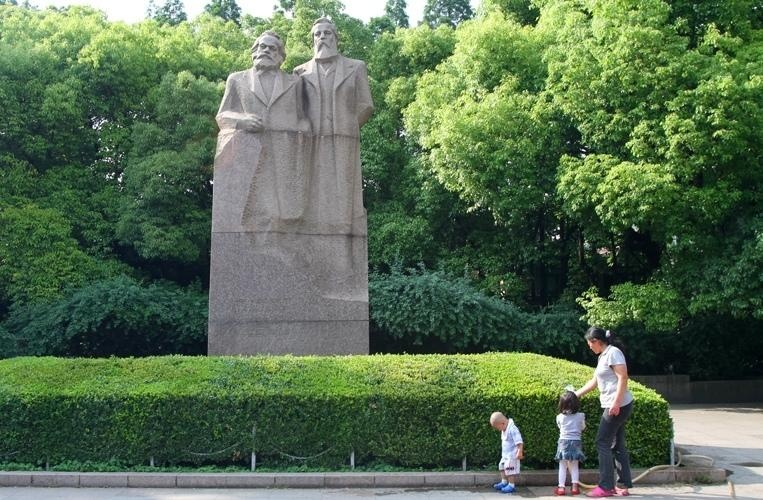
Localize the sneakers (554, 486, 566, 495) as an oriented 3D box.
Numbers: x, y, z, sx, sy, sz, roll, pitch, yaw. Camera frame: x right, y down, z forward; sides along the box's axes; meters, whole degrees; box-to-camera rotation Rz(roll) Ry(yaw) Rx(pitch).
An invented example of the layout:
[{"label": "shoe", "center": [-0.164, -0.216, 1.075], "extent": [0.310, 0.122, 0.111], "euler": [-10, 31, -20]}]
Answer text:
[{"label": "sneakers", "center": [4.331, 5.829, 33.891], "extent": [0.154, 0.169, 0.262], "euler": [1, 3, -8]}]

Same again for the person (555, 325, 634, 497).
[{"label": "person", "center": [5.484, 3.926, 33.855], "extent": [1.245, 4.082, 0.888], "euler": [1, -5, 1]}]

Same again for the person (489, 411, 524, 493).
[{"label": "person", "center": [3.062, 4.914, 34.008], "extent": [0.752, 1.934, 0.481], "euler": [1, -5, 4]}]

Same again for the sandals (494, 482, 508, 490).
[{"label": "sandals", "center": [2.912, 5.741, 34.029], "extent": [0.336, 0.140, 0.135], "euler": [5, -6, 5]}]

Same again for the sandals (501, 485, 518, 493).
[{"label": "sandals", "center": [3.098, 5.779, 33.927], "extent": [0.323, 0.121, 0.154], "euler": [5, -3, -16]}]
